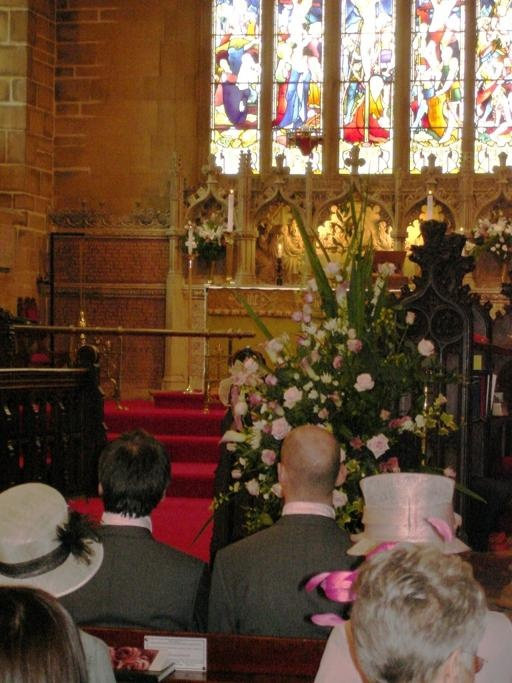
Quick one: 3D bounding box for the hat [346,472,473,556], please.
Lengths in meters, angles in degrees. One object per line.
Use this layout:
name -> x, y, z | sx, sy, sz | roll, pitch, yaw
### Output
hat -> 0.333, 0.343, 2.119 | 0.218, 0.135, 0.212 | -2, -3, 23
